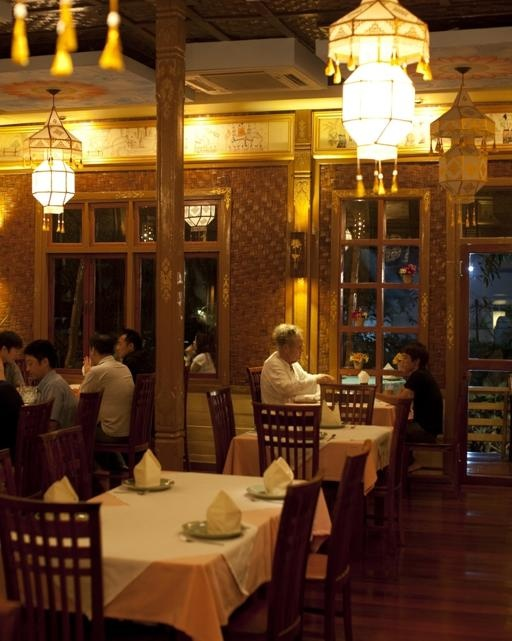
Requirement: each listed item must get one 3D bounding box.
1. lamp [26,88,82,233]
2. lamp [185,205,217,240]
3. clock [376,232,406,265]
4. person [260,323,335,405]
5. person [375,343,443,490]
[{"bbox_3d":[-2.230,-1.674,7.046,0.575,1.526,1.417,4,-1,-18],"label":"lamp"},{"bbox_3d":[-0.687,-1.139,7.789,0.417,0.441,0.407,2,-9,-23],"label":"lamp"},{"bbox_3d":[1.532,-0.812,7.214,0.302,0.338,0.101,8,5,6],"label":"clock"},{"bbox_3d":[0.368,0.354,5.629,0.659,1.142,0.652,-2,5,2],"label":"person"},{"bbox_3d":[1.539,0.922,6.563,0.750,1.389,0.571,6,-3,2],"label":"person"}]
